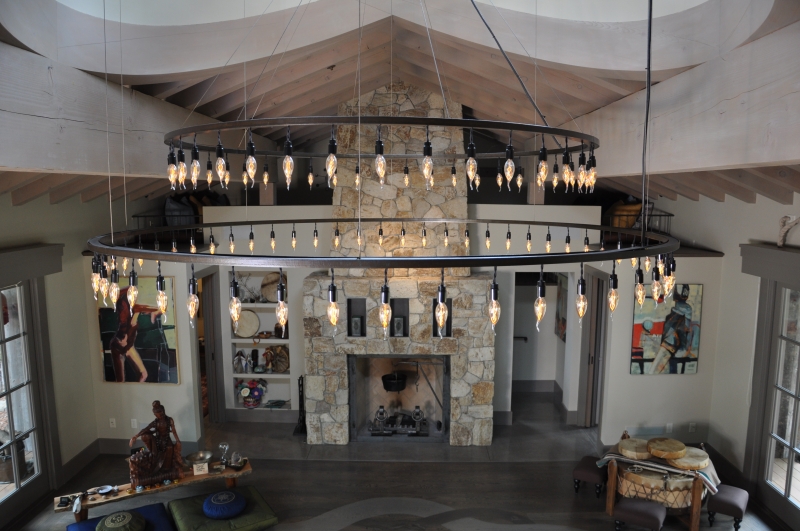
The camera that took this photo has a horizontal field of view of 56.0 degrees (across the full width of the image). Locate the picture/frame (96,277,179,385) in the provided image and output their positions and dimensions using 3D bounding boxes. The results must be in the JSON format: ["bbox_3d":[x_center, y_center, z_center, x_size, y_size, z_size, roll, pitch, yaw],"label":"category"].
[{"bbox_3d":[-4.404,1.033,12.709,1.667,2.549,0.172,-1,2,-2],"label":"picture/frame"}]
